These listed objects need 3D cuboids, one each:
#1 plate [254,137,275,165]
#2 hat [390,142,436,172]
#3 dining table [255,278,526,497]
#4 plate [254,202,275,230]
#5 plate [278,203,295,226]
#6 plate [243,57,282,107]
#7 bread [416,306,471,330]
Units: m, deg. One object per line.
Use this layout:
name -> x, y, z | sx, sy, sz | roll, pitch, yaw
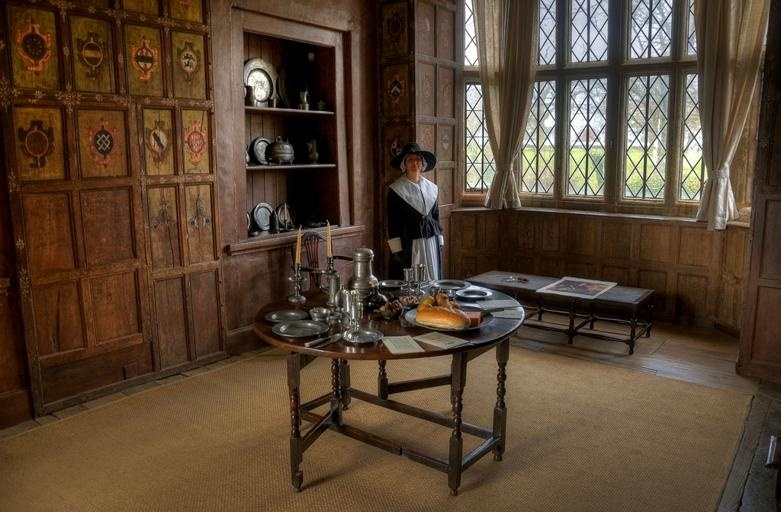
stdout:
plate -> -1.484, -1.227, 6.450 | 0.226, 0.287, 0.225 | -2, 11, -9
hat -> 0.293, -1.110, 6.245 | 0.370, 0.312, 0.529 | 9, 15, 40
dining table -> -0.086, 0.978, 4.203 | 1.631, 1.038, 1.658 | 6, 11, 39
plate -> -1.445, -0.454, 6.412 | 0.152, 0.302, 0.289 | 9, 14, 39
plate -> -1.250, -0.493, 6.677 | 0.143, 0.271, 0.391 | 1, 11, 5
plate -> -1.478, -1.984, 6.341 | 0.312, 0.524, 0.315 | -1, 11, -2
bread -> 0.345, 0.428, 3.876 | 0.233, 0.089, 0.183 | 12, 2, 18
